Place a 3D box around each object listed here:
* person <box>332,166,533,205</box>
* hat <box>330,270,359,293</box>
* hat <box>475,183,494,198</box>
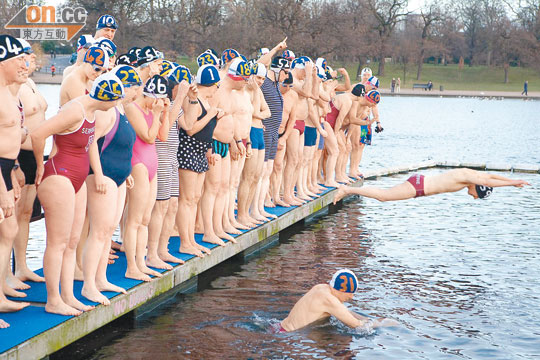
[{"bbox_3d":[2.807,0.099,12.504,2.277,0.380,1.269,-8,1,11],"label":"person"},{"bbox_3d":[1.178,1.605,11.213,0.452,0.266,0.307,5,23,6],"label":"hat"},{"bbox_3d":[3.774,0.177,12.533,0.250,0.198,0.267,-7,-9,-22],"label":"hat"}]
